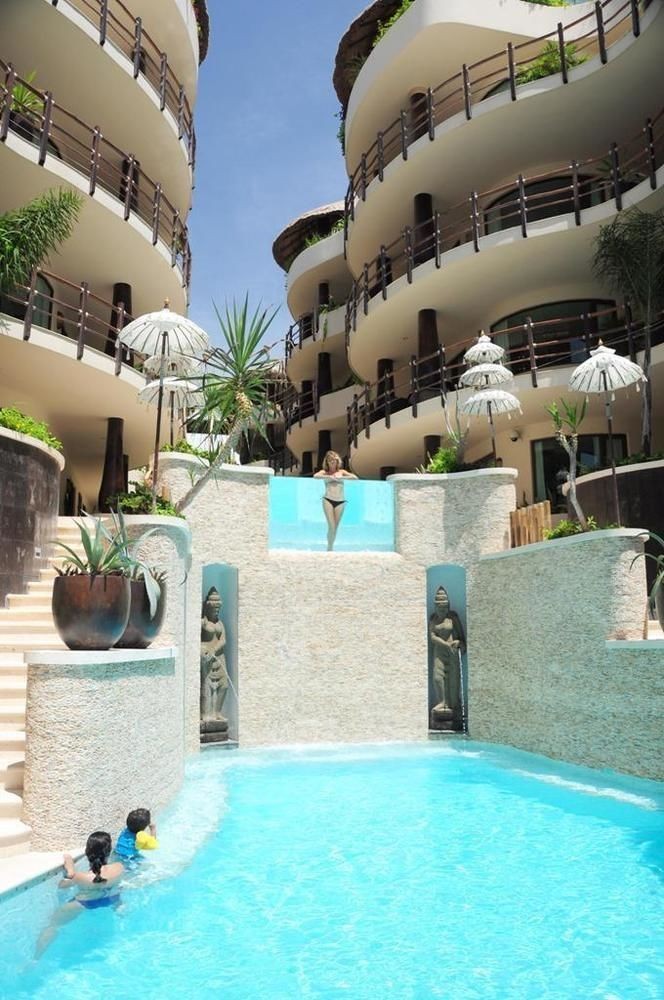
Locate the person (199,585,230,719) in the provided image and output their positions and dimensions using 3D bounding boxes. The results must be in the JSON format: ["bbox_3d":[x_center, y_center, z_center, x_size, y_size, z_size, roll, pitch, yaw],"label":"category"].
[{"bbox_3d":[-1.776,2.341,10.432,0.435,2.032,0.404,3,-11,-9],"label":"person"}]

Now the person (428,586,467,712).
[{"bbox_3d":[1.908,2.571,11.518,0.591,2.158,0.470,2,-11,-2],"label":"person"}]

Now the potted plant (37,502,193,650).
[{"bbox_3d":[-1.986,0.565,6.057,1.253,1.401,1.428,1,-11,-2],"label":"potted plant"}]

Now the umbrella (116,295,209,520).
[{"bbox_3d":[-2.126,-1.261,8.602,1.044,2.940,2.490,4,-12,-14],"label":"umbrella"}]

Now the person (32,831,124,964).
[{"bbox_3d":[-1.561,2.295,4.060,0.518,0.423,0.962,8,-49,-31],"label":"person"}]

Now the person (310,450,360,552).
[{"bbox_3d":[0.011,-0.061,11.644,0.603,1.779,0.747,1,-11,1],"label":"person"}]
